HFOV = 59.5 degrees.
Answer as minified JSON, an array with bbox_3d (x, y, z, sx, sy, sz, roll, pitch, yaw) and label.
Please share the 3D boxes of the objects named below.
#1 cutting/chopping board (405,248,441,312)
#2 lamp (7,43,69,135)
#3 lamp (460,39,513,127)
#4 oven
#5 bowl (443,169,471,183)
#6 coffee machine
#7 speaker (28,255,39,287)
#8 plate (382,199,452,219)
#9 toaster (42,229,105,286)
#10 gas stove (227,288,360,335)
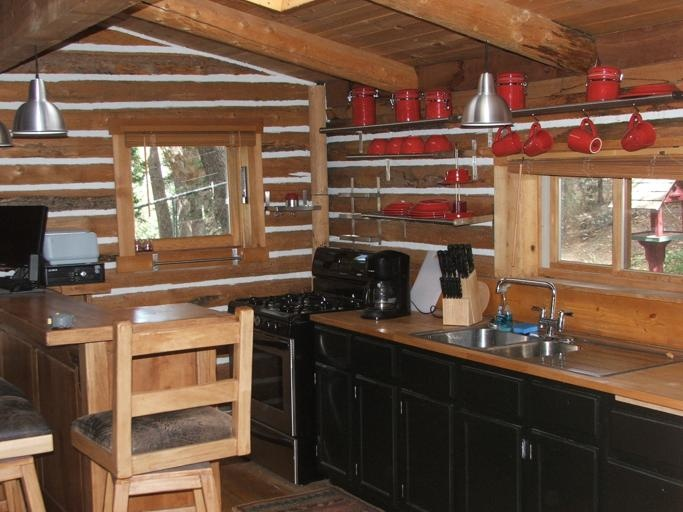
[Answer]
[{"bbox_3d":[0.651,0.197,4.531,0.289,0.417,0.134,3,-21,44],"label":"cutting/chopping board"},{"bbox_3d":[-1.742,-0.956,3.522,0.341,0.450,0.403,-6,12,-42],"label":"lamp"},{"bbox_3d":[0.713,-0.790,2.945,0.220,0.289,0.172,0,6,20],"label":"lamp"},{"bbox_3d":[-0.260,1.140,4.754,0.909,1.073,0.816,-1,-2,-19],"label":"oven"},{"bbox_3d":[0.806,-0.559,4.188,0.137,0.091,0.147,-1,4,0],"label":"bowl"},{"bbox_3d":[0.332,0.212,4.210,0.315,0.430,0.353,-4,10,-39],"label":"coffee machine"},{"bbox_3d":[-2.169,0.101,4.226,0.080,0.233,0.091,-6,7,-29],"label":"speaker"},{"bbox_3d":[0.595,-0.341,4.430,0.311,0.133,0.659,-4,5,-40],"label":"plate"},{"bbox_3d":[-2.167,0.014,4.614,0.507,0.309,0.500,-1,1,-40],"label":"toaster"},{"bbox_3d":[-0.322,0.409,4.623,0.555,0.142,0.726,-1,2,-33],"label":"gas stove"}]
